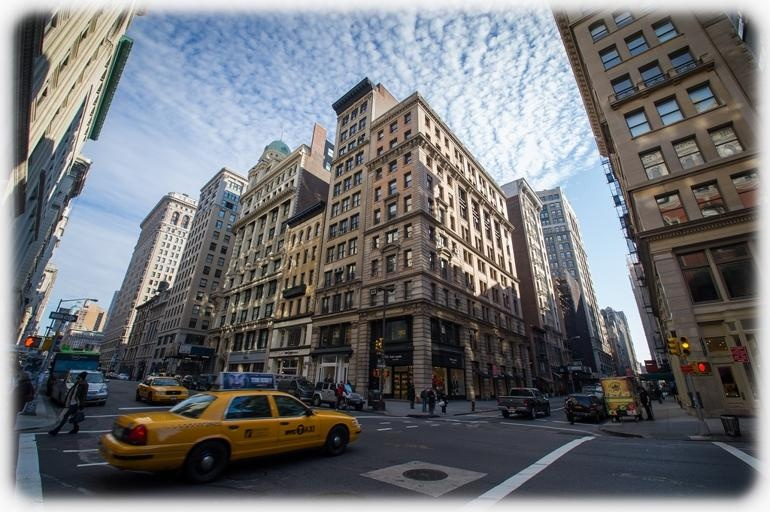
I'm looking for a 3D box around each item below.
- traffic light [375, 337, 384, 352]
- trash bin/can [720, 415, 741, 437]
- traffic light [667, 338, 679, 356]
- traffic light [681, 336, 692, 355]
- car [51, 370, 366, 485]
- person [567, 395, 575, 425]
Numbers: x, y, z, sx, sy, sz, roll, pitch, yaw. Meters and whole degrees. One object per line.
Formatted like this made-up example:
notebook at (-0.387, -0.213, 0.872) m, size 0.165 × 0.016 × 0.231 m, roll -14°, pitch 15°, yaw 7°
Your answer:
traffic light at (-0.463, 7.152, 31.189) m, size 0.534 × 1.232 × 1.474 m, roll -1°, pitch -20°, yaw 7°
trash bin/can at (16.521, 8.007, 18.408) m, size 0.615 × 0.881 × 0.734 m, roll -11°, pitch -24°, yaw 30°
traffic light at (15.214, 4.643, 20.267) m, size 0.480 × 0.922 × 0.914 m, roll -13°, pitch -25°, yaw 33°
traffic light at (15.353, 4.508, 19.763) m, size 0.349 × 0.840 × 0.648 m, roll -11°, pitch -24°, yaw 29°
car at (-5.245, 6.239, 14.469) m, size 7.761 × 1.945 × 3.436 m, roll 11°, pitch -26°, yaw -31°
person at (12.761, 10.383, 26.467) m, size 0.603 × 1.648 × 1.133 m, roll -8°, pitch -23°, yaw 22°
